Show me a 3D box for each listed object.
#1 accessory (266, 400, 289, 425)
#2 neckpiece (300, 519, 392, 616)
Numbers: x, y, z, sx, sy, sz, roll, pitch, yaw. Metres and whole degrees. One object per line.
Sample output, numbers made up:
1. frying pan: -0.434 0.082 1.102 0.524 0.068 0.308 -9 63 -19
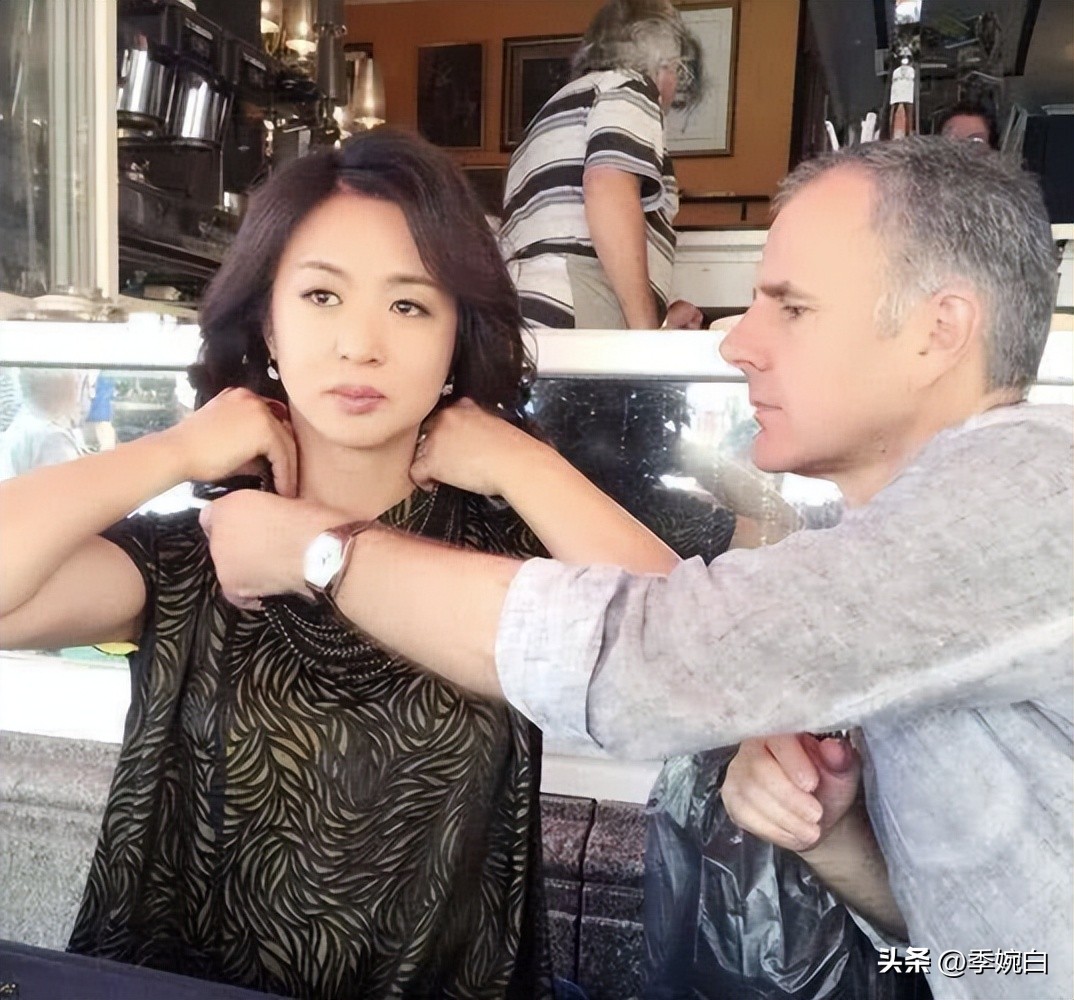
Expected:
1. accessory: -0.177 -0.061 0.682 0.014 0.014 0.004 -28 -6 -41
2. neckpiece: -0.105 0.035 0.532 0.033 0.051 0.016 6 -1 34
